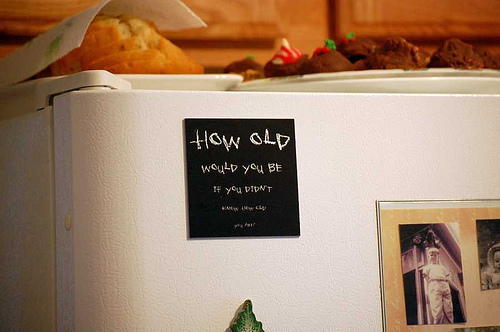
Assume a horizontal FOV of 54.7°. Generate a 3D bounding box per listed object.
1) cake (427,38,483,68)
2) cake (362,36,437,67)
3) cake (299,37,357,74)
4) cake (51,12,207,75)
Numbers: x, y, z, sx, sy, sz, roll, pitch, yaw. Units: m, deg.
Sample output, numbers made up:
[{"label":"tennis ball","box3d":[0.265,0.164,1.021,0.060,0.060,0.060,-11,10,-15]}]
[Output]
[{"label":"cake","box3d":[0.482,-0.265,1.124,0.085,0.084,0.029,4,-8,-10]},{"label":"cake","box3d":[0.349,-0.281,1.162,0.120,0.038,0.128,27,46,26]},{"label":"cake","box3d":[0.190,-0.259,1.215,0.135,0.088,0.133,-5,5,-15]},{"label":"cake","box3d":[-0.310,-0.358,1.237,0.355,0.109,0.377,4,30,-17]}]
